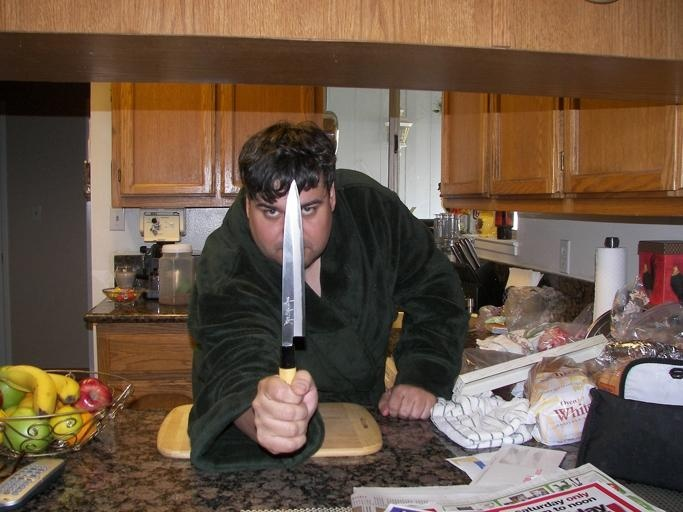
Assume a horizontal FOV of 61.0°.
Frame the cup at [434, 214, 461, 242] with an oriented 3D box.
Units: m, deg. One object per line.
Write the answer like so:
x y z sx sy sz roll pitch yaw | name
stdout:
0.637 -0.169 3.483 0.150 0.153 0.155 0 -3 0 | cup

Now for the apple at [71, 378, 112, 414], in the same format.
-0.563 0.315 1.305 0.066 0.070 0.069 2 -12 5 | apple

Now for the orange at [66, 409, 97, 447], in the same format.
-0.541 0.366 1.220 0.071 0.063 0.055 -13 17 -31 | orange

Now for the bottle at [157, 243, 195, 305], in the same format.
-0.901 0.111 3.171 0.179 0.370 0.230 1 13 -9 | bottle

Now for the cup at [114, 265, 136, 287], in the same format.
-1.183 0.109 3.198 0.106 0.125 0.108 0 1 0 | cup
